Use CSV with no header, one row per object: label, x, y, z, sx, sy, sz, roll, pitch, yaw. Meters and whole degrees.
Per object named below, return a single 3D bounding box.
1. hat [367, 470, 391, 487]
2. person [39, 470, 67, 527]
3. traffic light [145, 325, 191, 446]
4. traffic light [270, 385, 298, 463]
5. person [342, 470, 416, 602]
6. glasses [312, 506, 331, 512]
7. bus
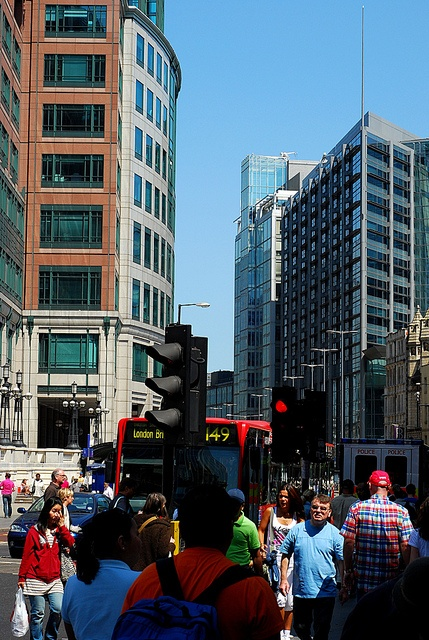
hat,1.407,1.357,9.213,0.179,0.161,0.315,9,-6,4
person,-2.238,2.637,15.034,0.272,1.107,0.469,0,1,1
traffic light,-0.412,0.552,9.645,0.401,1.166,0.771,0,-11,-3
traffic light,0.944,1.407,14.719,0.349,1.047,0.568,-1,-11,4
person,1.379,2.065,9.280,0.572,1.711,0.489,3,17,8
glasses,0.896,1.601,9.146,0.137,0.067,0.141,-1,-12,2
bus,-0.107,2.604,18.268,1.317,1.945,3.971,-2,-11,18
